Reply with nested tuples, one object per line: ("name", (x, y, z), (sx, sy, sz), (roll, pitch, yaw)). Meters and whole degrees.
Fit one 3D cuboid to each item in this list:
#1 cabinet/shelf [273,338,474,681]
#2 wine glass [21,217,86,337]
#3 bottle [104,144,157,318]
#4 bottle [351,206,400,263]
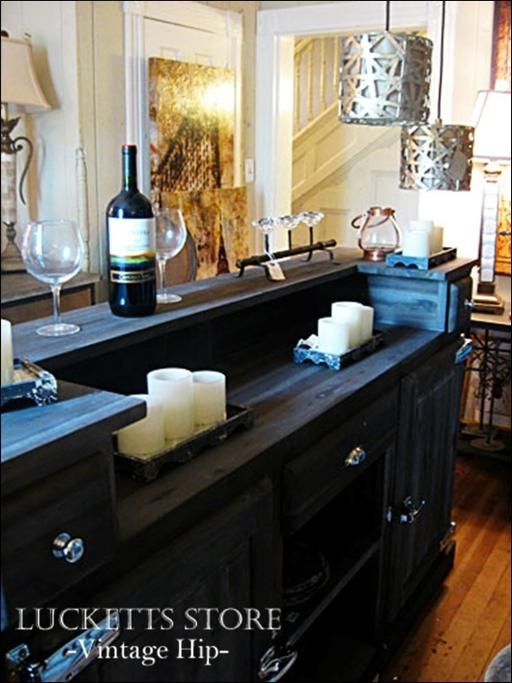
("cabinet/shelf", (0.296, 0.438, 1.340), (0.269, 0.731, 0.787), (9, 19, 33))
("wine glass", (-0.368, -0.123, 0.949), (0.095, 0.196, 0.217), (-5, 17, -23))
("bottle", (-0.235, -0.195, 0.978), (0.083, 0.316, 0.080), (1, 15, 0))
("bottle", (0.476, -0.400, 1.889), (0.204, 0.200, 0.162), (-4, 14, -17))
